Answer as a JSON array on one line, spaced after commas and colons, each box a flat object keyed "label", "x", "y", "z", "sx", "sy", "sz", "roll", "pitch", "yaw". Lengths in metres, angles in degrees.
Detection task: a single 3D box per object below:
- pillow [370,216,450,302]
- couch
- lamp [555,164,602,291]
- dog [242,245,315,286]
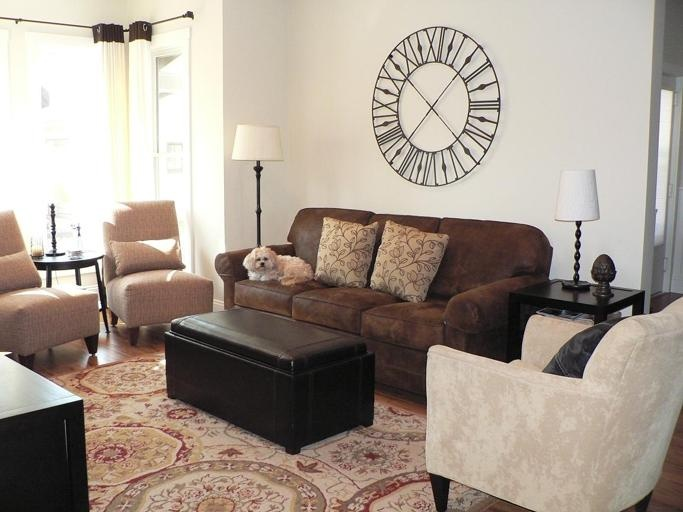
[{"label": "pillow", "x": 0.467, "y": 0.053, "z": 4.122, "sx": 0.543, "sy": 0.528, "sz": 0.168, "roll": 23, "pitch": 6, "yaw": 40}, {"label": "couch", "x": 0.226, "y": 0.263, "z": 4.553, "sx": 1.029, "sy": 1.073, "sz": 2.608, "roll": -10, "pitch": 12, "yaw": -42}, {"label": "lamp", "x": 1.500, "y": -0.178, "z": 3.746, "sx": 0.241, "sy": 0.741, "sz": 0.453, "roll": 6, "pitch": 14, "yaw": 22}, {"label": "dog", "x": -0.509, "y": 0.082, "z": 4.675, "sx": 0.442, "sy": 0.208, "sz": 0.334, "roll": 0, "pitch": 0, "yaw": -10}]
